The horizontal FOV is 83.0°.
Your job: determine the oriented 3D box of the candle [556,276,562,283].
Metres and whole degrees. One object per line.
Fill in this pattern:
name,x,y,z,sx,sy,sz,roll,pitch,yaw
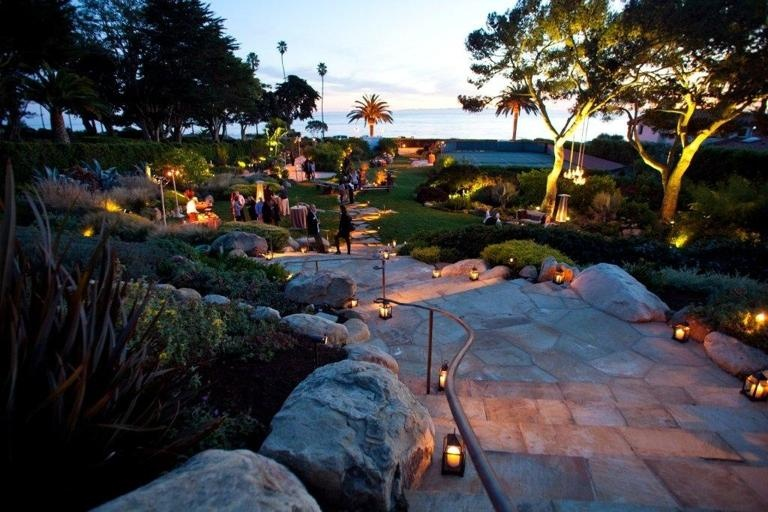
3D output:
candle,4.110,0.548,10.105,0.128,0.174,0.129,2,3,21

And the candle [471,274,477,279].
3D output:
candle,2.273,0.507,10.772,0.108,0.109,0.110,1,2,3

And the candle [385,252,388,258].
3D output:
candle,0.066,-0.017,10.070,0.105,0.113,0.107,2,3,16

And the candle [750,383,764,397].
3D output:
candle,5.474,1.948,6.317,0.138,0.208,0.025,9,16,18
